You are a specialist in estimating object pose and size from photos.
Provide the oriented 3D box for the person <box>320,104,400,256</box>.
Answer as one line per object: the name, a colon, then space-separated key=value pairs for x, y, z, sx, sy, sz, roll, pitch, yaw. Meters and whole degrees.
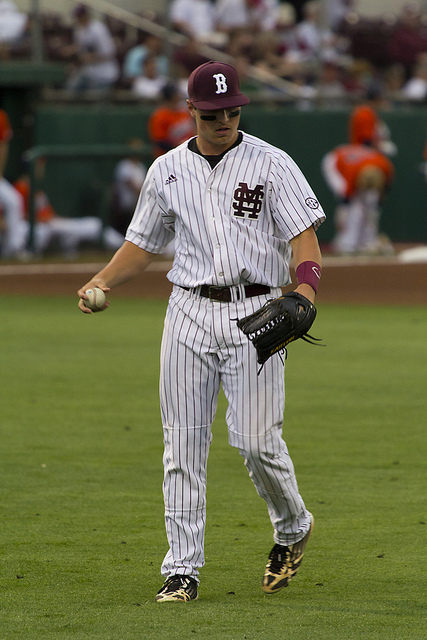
person: x=2.062 y=-1.976 z=12.668 sx=1.069 sy=2.047 sz=1.000 roll=3 pitch=11 yaw=-5

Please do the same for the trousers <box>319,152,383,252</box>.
trousers: x=2.001 y=-1.665 z=12.717 sx=1.205 sy=1.256 sz=0.558 roll=27 pitch=29 yaw=38

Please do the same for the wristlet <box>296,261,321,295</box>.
wristlet: x=0.259 y=-0.120 z=2.523 sx=0.081 sy=0.069 sz=0.086 roll=2 pitch=-11 yaw=2

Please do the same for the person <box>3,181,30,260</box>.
person: x=-2.513 y=-1.266 z=11.592 sx=0.328 sy=0.941 sz=0.344 roll=2 pitch=11 yaw=-11

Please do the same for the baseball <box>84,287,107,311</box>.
baseball: x=-0.338 y=-0.059 z=2.641 sx=0.047 sy=0.071 sz=0.071 roll=13 pitch=13 yaw=42

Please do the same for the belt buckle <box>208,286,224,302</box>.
belt buckle: x=0.010 y=-0.071 z=2.494 sx=0.047 sy=0.038 sz=0.012 roll=1 pitch=5 yaw=7

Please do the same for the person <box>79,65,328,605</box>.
person: x=-0.045 y=0.054 z=2.591 sx=0.655 sy=1.541 sz=0.488 roll=9 pitch=12 yaw=26

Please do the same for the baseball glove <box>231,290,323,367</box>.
baseball glove: x=0.156 y=0.024 z=2.466 sx=0.228 sy=0.195 sz=0.077 roll=-31 pitch=-17 yaw=-18
